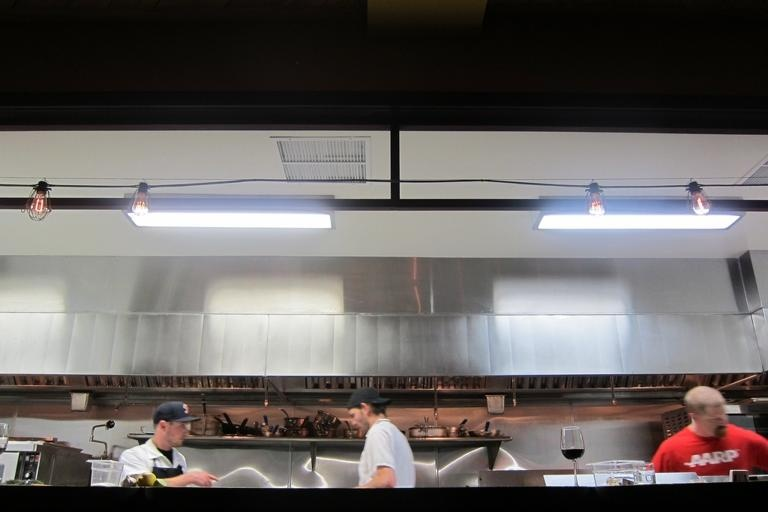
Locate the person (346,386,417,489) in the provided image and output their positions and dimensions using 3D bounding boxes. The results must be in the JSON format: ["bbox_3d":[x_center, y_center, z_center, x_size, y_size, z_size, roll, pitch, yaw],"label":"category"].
[{"bbox_3d":[-0.050,1.247,4.848,0.455,0.695,0.657,-4,-19,4],"label":"person"}]

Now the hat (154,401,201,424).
[{"bbox_3d":[-1.596,1.179,5.295,0.309,0.141,0.187,-1,-11,-12],"label":"hat"}]

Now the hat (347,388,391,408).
[{"bbox_3d":[-0.118,1.055,5.195,0.263,0.120,0.161,-6,-19,3],"label":"hat"}]

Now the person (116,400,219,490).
[{"bbox_3d":[-1.564,1.307,4.963,0.592,0.635,1.605,4,-19,-19],"label":"person"}]
